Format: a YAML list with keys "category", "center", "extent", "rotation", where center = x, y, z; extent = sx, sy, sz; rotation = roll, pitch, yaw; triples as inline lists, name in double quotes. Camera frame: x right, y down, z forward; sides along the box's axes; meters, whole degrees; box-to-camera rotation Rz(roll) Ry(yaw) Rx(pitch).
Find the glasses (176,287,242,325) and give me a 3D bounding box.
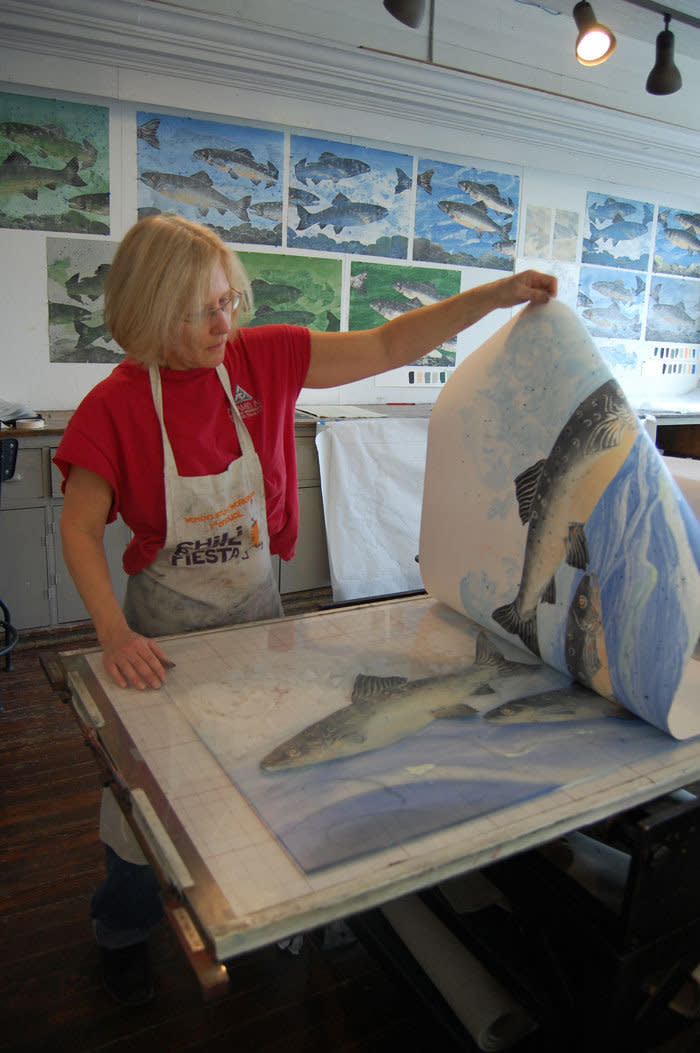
- category: "glasses"
  center: [-0.224, -0.357, 1.235]
  extent: [0.073, 0.023, 0.072]
  rotation: [10, 39, 33]
